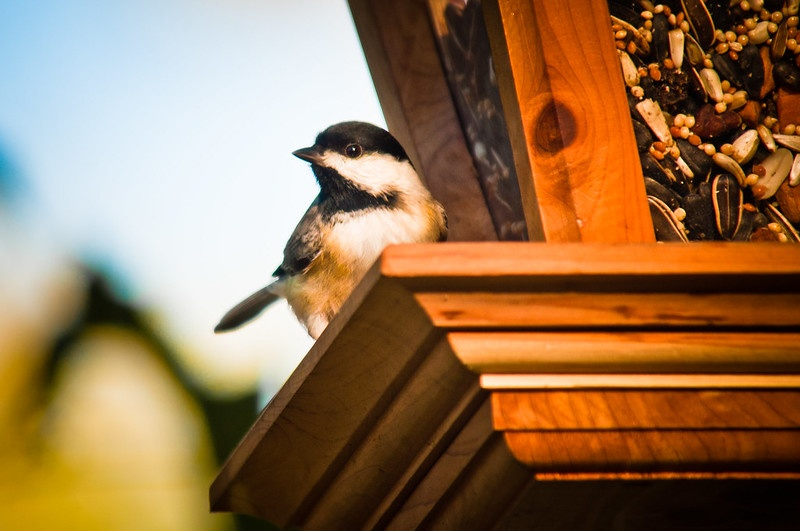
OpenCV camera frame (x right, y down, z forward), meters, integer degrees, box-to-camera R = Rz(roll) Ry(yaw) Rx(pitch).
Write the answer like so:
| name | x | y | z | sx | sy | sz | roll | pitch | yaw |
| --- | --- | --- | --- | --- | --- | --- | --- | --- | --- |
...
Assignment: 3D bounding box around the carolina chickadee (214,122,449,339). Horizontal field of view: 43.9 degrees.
| name | x | y | z | sx | sy | sz | roll | pitch | yaw |
| --- | --- | --- | --- | --- | --- | --- | --- | --- | --- |
| carolina chickadee | -0.115 | -0.056 | 1.721 | 0.241 | 0.397 | 0.389 | -2 | 10 | -33 |
